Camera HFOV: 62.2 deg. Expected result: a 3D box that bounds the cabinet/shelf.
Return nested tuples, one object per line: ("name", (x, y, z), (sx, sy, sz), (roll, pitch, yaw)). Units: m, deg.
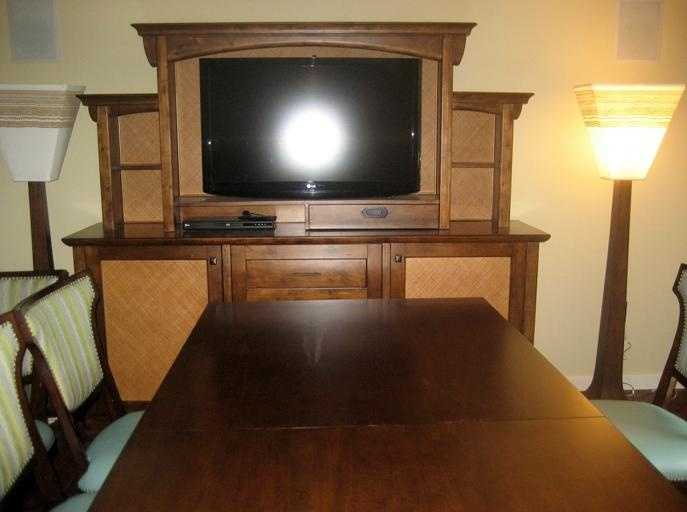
("cabinet/shelf", (-0.226, -0.255, 2.806), (2.067, 1.895, 0.594), (-2, 11, -4))
